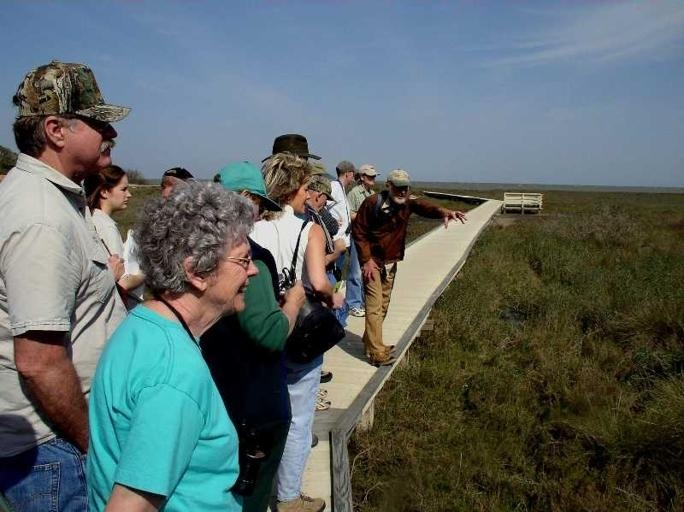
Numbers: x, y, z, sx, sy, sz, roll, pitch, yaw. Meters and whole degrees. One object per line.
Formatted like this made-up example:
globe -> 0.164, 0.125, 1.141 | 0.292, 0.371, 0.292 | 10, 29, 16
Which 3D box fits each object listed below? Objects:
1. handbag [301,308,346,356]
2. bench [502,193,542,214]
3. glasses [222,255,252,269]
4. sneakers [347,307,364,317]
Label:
handbag -> -0.166, 0.474, 3.389 | 0.313, 0.364, 0.248 | 11, 13, 26
bench -> 11.395, -3.370, 31.662 | 2.370, 1.335, 1.808 | 6, 10, 0
glasses -> -0.446, 0.025, 2.208 | 0.047, 0.071, 0.173 | 8, 11, 15
sneakers -> 0.235, 0.922, 8.188 | 0.252, 0.107, 0.112 | -9, 3, 24
